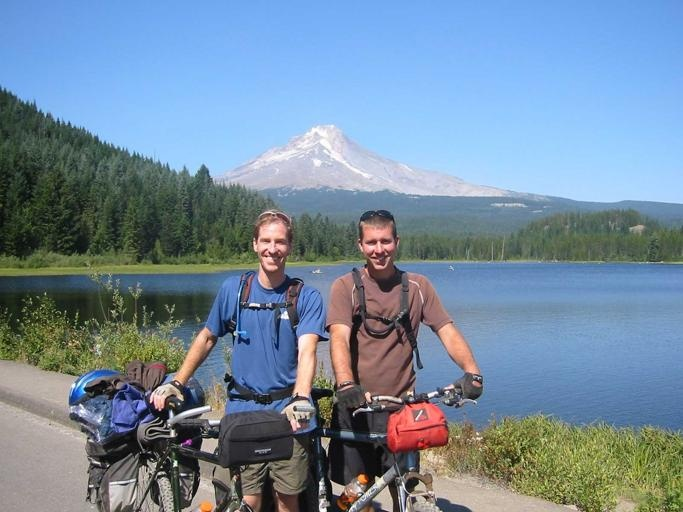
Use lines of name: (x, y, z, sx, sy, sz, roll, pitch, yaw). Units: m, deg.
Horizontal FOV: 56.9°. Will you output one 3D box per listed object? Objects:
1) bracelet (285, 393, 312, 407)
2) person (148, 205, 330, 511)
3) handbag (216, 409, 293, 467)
bracelet: (-0.333, 1.158, 5.075, 0.119, 0.054, 0.115, -5, 9, 5)
person: (-0.708, 0.903, 5.506, 1.327, 2.662, 0.833, 1, 1, 26)
handbag: (-0.647, 1.378, 4.721, 0.496, 0.396, 0.388, 2, -8, -18)
